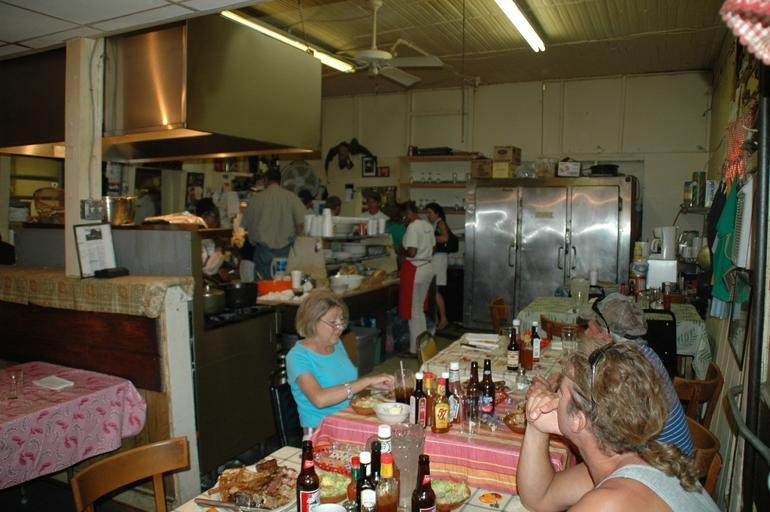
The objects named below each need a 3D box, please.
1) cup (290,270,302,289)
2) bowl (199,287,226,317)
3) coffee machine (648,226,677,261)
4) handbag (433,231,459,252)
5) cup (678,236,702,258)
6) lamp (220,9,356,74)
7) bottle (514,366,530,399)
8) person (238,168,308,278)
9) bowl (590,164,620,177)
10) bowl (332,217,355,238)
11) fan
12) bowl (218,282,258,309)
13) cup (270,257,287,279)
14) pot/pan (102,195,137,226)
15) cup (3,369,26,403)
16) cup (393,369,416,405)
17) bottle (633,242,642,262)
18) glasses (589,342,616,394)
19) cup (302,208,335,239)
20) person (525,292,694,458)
[{"bbox_3d":[-0.918,0.243,6.099,0.104,0.172,0.145,-1,6,-11],"label":"cup"},{"bbox_3d":[-1.413,0.385,4.784,0.198,0.145,0.196,0,-3,0],"label":"bowl"},{"bbox_3d":[3.400,-0.168,7.058,0.267,0.382,0.496,1,6,12],"label":"coffee machine"},{"bbox_3d":[0.983,-0.183,8.920,0.416,0.417,0.281,-5,19,-11],"label":"handbag"},{"bbox_3d":[3.566,-0.099,6.803,0.108,0.245,0.508,1,5,11],"label":"cup"},{"bbox_3d":[-1.128,-2.564,7.010,1.787,0.121,0.218,22,1,-2],"label":"lamp"},{"bbox_3d":[0.926,0.870,3.916,0.120,0.206,0.122,1,1,0],"label":"bottle"},{"bbox_3d":[-1.360,-0.395,7.170,0.719,1.339,0.410,3,7,31],"label":"person"},{"bbox_3d":[3.147,-1.232,8.341,0.381,0.207,0.467,2,6,18],"label":"bowl"},{"bbox_3d":[-0.487,-0.320,6.795,0.235,0.141,0.234,0,-7,0],"label":"bowl"},{"bbox_3d":[-0.031,-2.282,6.926,1.137,0.543,1.110,-4,9,-33],"label":"fan"},{"bbox_3d":[-1.248,0.341,5.023,0.247,0.141,0.224,0,2,-21],"label":"bowl"},{"bbox_3d":[-1.171,0.138,6.474,0.225,0.237,0.173,1,2,5],"label":"cup"},{"bbox_3d":[-2.199,-0.380,4.884,0.277,0.235,0.219,3,-1,2],"label":"pot/pan"},{"bbox_3d":[-2.542,0.900,4.000,0.117,0.210,0.117,3,5,0],"label":"cup"},{"bbox_3d":[0.121,0.794,3.533,0.172,0.254,0.163,2,-4,0],"label":"cup"},{"bbox_3d":[3.179,-0.068,7.273,0.101,0.214,0.373,3,6,27],"label":"bottle"},{"bbox_3d":[0.956,0.489,2.631,0.055,0.176,0.170,14,39,7],"label":"glasses"},{"bbox_3d":[-0.702,-0.362,6.376,0.306,0.311,0.200,4,7,33],"label":"cup"},{"bbox_3d":[1.717,0.844,3.984,1.518,1.002,0.852,5,-3,-35],"label":"person"}]
